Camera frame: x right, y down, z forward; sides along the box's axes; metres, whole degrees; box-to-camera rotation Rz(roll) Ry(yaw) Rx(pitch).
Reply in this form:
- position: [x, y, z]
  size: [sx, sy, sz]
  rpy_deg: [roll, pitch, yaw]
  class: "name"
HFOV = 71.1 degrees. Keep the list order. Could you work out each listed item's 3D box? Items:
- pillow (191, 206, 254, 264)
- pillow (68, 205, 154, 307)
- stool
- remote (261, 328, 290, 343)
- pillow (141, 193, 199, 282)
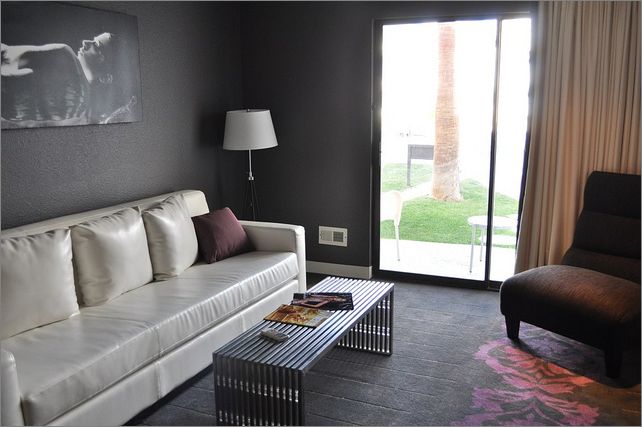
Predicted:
- position: [-0.915, 0.201, 4.117]
  size: [0.522, 0.454, 0.154]
  rpy_deg: [-14, -10, -45]
  class: "pillow"
- position: [-1.585, 0.342, 3.390]
  size: [0.356, 0.600, 0.655]
  rpy_deg: [-6, 6, 25]
  class: "pillow"
- position: [1.817, 0.259, 5.074]
  size: [0.684, 0.671, 0.672]
  rpy_deg: [1, 8, 6]
  class: "stool"
- position: [-0.302, 0.780, 2.895]
  size: [0.136, 0.026, 0.077]
  rpy_deg: [6, 11, 30]
  class: "remote"
- position: [-1.279, 0.225, 3.804]
  size: [0.228, 0.584, 0.638]
  rpy_deg: [-5, 11, 23]
  class: "pillow"
